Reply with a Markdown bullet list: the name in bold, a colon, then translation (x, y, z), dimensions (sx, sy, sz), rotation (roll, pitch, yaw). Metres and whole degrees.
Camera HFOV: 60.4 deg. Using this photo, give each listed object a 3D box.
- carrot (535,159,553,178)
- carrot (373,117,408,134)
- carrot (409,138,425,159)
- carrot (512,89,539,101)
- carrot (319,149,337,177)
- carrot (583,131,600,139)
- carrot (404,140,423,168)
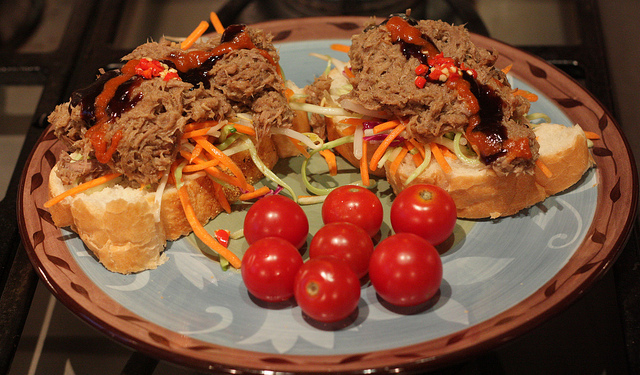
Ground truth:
- **carrot**: translation (1.814, -0.152, 4.443), dimensions (0.044, 0.045, 0.164), rotation (-40, 77, 0)
- **carrot**: translation (0.606, -0.516, 4.626), dimensions (0.288, 0.071, 0.062), rotation (-19, 80, -6)
- **carrot**: translation (0.810, -0.321, 4.616), dimensions (0.047, 0.140, 0.147), rotation (-16, 29, -27)
- **carrot**: translation (1.774, -0.791, 4.743), dimensions (0.228, 0.126, 0.043), rotation (20, 108, -10)
- **carrot**: translation (0.086, -0.233, 4.892), dimensions (0.089, 0.057, 0.321), rotation (-38, 71, 19)
- **carrot**: translation (2.343, -0.446, 4.711), dimensions (0.099, 0.015, 0.058), rotation (23, 56, 21)
- **carrot**: translation (0.808, -0.264, 4.629), dimensions (0.071, 0.076, 0.304), rotation (-32, 94, 9)
